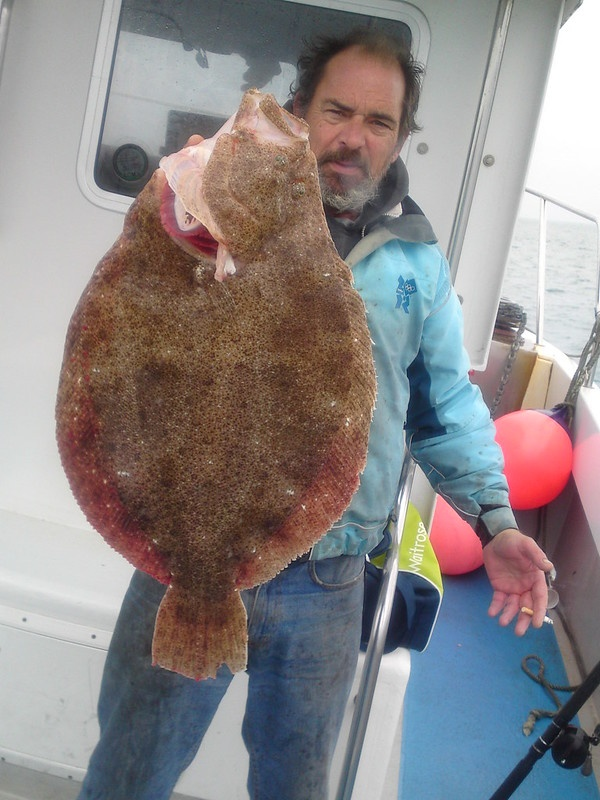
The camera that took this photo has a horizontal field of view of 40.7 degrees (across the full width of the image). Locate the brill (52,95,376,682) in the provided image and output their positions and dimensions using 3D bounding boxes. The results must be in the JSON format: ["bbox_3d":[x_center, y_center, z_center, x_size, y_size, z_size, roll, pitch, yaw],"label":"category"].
[{"bbox_3d":[-0.165,0.008,1.539,0.613,1.150,0.246,17,10,6],"label":"brill"}]

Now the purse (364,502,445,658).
[{"bbox_3d":[0.334,0.574,2.656,0.325,0.165,0.529,39,28,-23],"label":"purse"}]
